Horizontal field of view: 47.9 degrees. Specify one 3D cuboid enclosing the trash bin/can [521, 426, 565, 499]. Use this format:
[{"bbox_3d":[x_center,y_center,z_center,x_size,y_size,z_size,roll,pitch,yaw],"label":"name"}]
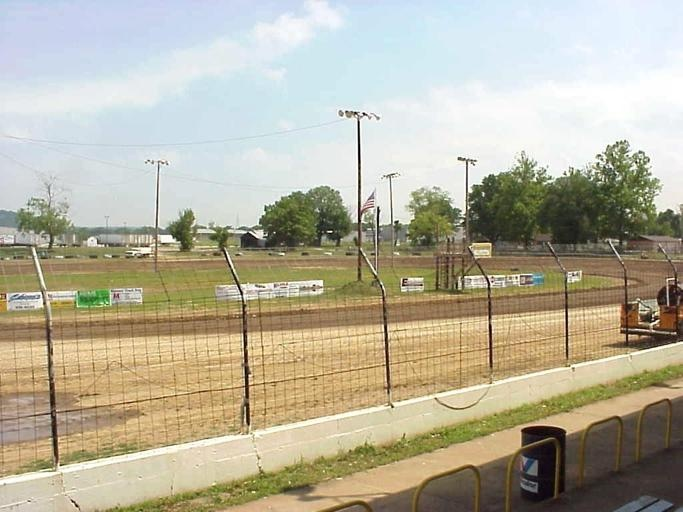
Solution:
[{"bbox_3d":[4.016,4.090,15.285,0.918,1.267,0.778,-3,12,-4],"label":"trash bin/can"}]
